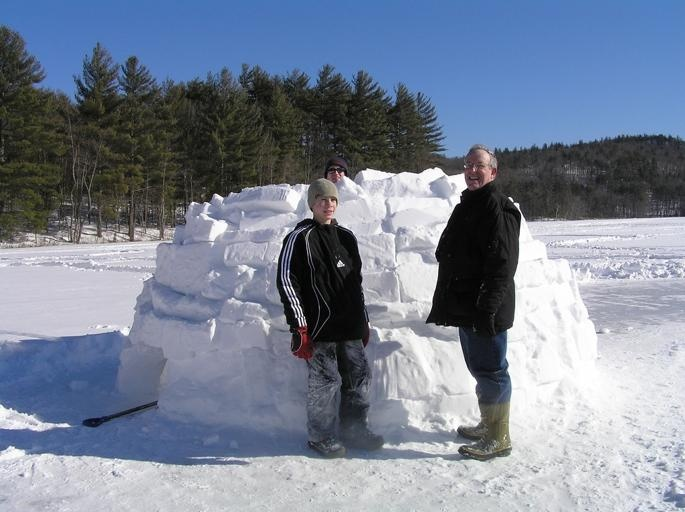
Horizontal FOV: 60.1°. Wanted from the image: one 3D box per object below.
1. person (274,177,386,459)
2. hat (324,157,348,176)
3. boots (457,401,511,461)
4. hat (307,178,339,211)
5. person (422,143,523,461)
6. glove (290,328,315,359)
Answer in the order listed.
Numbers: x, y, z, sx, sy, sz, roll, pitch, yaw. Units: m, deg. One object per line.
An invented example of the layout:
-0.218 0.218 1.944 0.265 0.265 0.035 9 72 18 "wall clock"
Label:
-0.102 0.472 4.781 0.860 2.188 0.475 1 1 -8 "person"
-0.066 -0.926 6.041 0.179 0.161 0.199 1 -5 -2 "hat"
1.171 1.400 4.858 0.539 0.565 0.269 3 -4 -11 "boots"
-0.160 -0.505 4.793 0.216 0.202 0.224 -5 8 -7 "hat"
1.044 0.348 4.712 0.647 2.446 0.460 2 1 18 "person"
-0.320 0.687 4.544 0.165 0.231 0.093 -17 8 -6 "glove"
